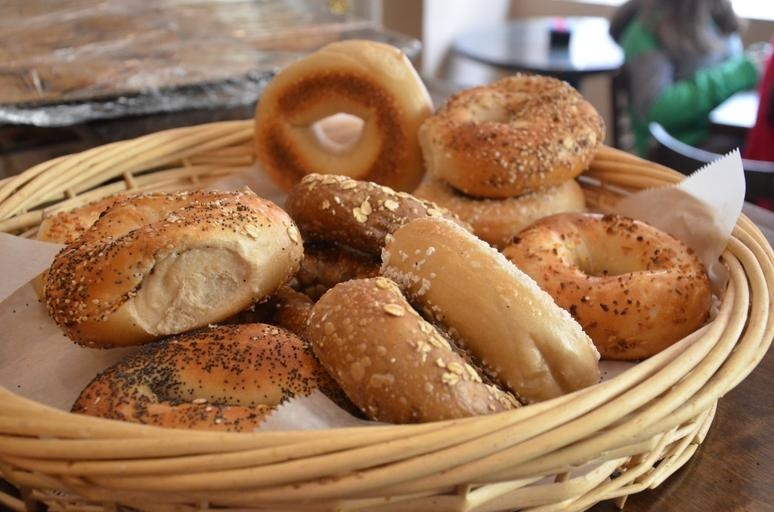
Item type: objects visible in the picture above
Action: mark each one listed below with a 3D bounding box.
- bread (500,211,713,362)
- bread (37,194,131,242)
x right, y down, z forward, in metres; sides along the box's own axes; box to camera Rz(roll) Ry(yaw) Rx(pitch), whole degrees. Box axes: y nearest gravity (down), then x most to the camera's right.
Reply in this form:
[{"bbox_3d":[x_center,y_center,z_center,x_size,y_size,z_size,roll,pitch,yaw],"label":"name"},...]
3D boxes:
[{"bbox_3d":[0.552,0.039,2.049,0.437,0.137,0.402,-14,32,-29],"label":"bread"},{"bbox_3d":[-0.825,-0.087,2.147,0.181,0.049,0.175,0,14,16],"label":"bread"}]
